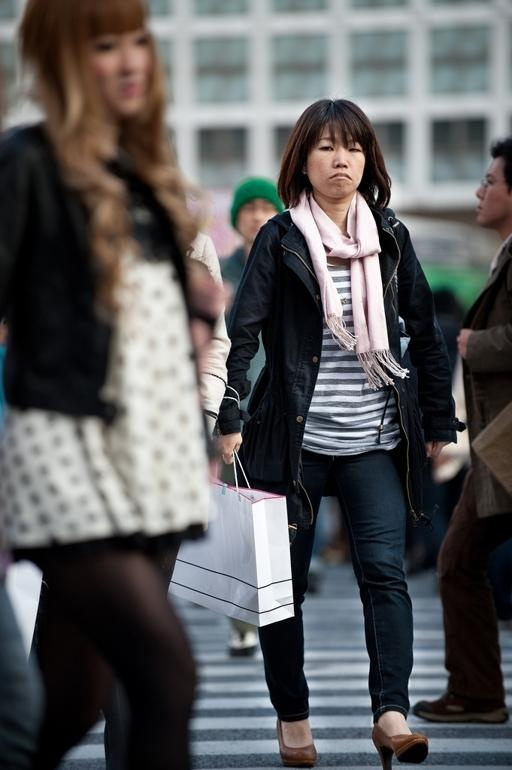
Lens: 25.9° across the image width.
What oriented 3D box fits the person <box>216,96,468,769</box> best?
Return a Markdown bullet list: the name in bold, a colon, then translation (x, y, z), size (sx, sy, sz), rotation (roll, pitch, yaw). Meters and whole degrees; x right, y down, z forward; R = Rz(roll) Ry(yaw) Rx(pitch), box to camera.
- **person**: translation (0.252, 0.089, 3.432), size (0.690, 2.075, 0.688), rotation (-2, -4, 13)
